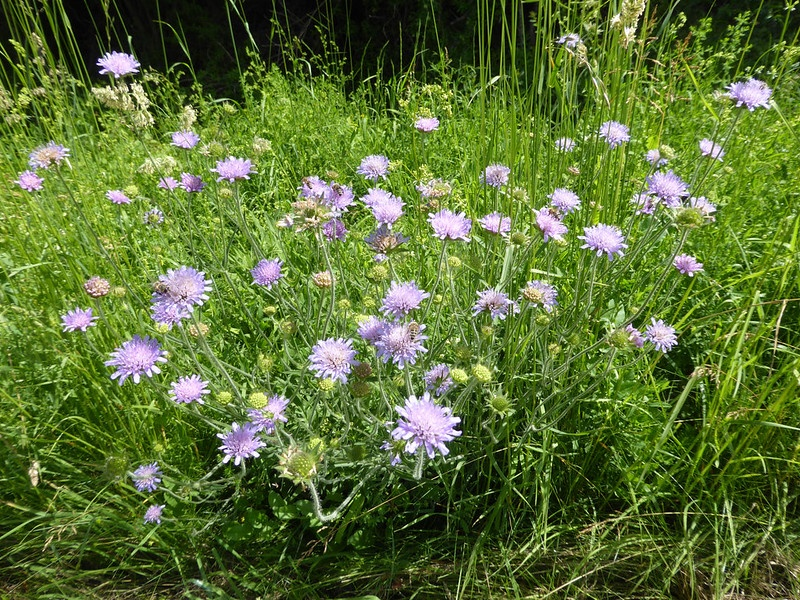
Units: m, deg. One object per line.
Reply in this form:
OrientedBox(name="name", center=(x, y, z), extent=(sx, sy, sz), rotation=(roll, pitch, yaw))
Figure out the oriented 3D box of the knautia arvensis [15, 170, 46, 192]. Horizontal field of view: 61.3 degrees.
OrientedBox(name="knautia arvensis", center=(-1.592, -0.534, 2.921), extent=(0.105, 0.048, 0.119), rotation=(0, 46, -9))
